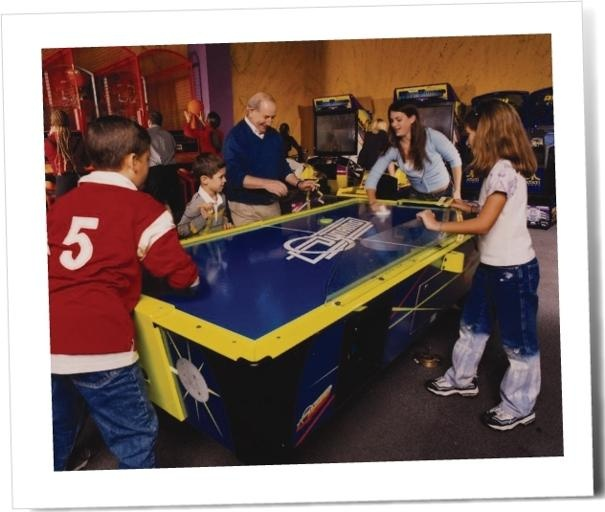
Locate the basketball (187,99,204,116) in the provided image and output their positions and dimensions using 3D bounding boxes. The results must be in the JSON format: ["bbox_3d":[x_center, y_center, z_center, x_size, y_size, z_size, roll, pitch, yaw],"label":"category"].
[{"bbox_3d":[-0.911,-1.264,3.990,0.135,0.139,0.189,-8,15,-11],"label":"basketball"}]

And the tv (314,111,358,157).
[{"bbox_3d":[0.395,-1.373,5.193,0.495,0.472,0.069,6,11,32],"label":"tv"}]

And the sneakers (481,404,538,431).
[{"bbox_3d":[1.027,0.785,2.330,0.233,0.115,0.104,0,12,-7],"label":"sneakers"}]

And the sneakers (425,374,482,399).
[{"bbox_3d":[0.797,0.692,2.467,0.245,0.126,0.115,6,5,5],"label":"sneakers"}]

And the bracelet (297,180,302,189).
[{"bbox_3d":[-0.016,-0.516,3.388,0.056,0.058,0.058,-2,17,-12],"label":"bracelet"}]
